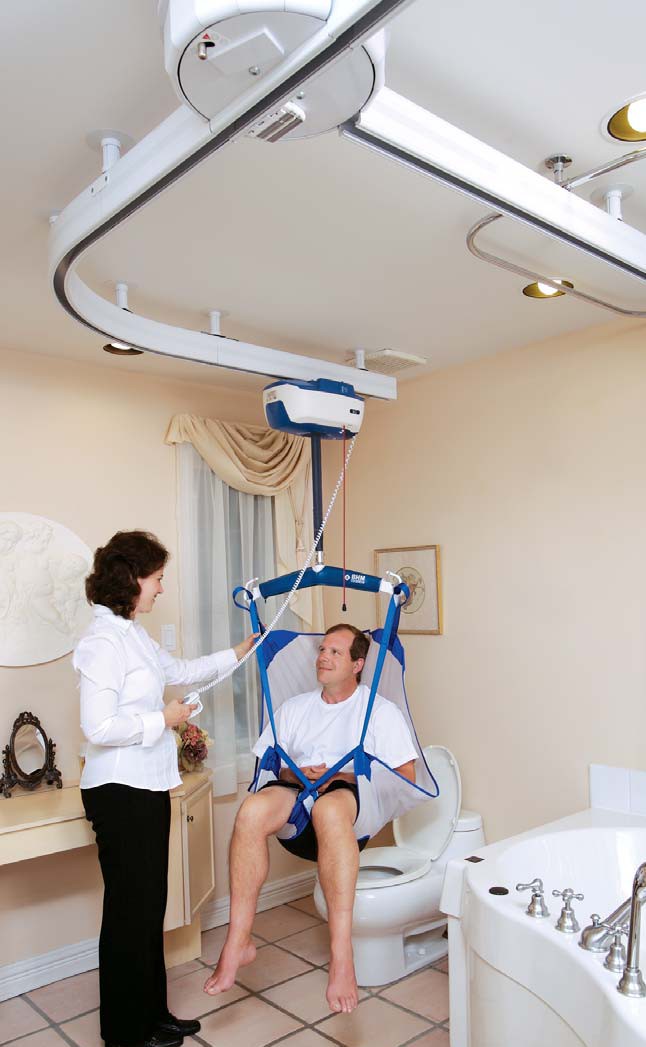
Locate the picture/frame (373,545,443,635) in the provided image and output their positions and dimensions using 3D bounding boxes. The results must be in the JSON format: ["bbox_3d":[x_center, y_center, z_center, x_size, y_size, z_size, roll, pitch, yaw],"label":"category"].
[{"bbox_3d":[0.365,0.274,3.560,0.047,0.433,0.370,5,-7,-44],"label":"picture/frame"}]

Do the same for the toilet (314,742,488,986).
[{"bbox_3d":[0.253,1.228,3.140,0.634,0.706,0.360,-1,-1,-41],"label":"toilet"}]
